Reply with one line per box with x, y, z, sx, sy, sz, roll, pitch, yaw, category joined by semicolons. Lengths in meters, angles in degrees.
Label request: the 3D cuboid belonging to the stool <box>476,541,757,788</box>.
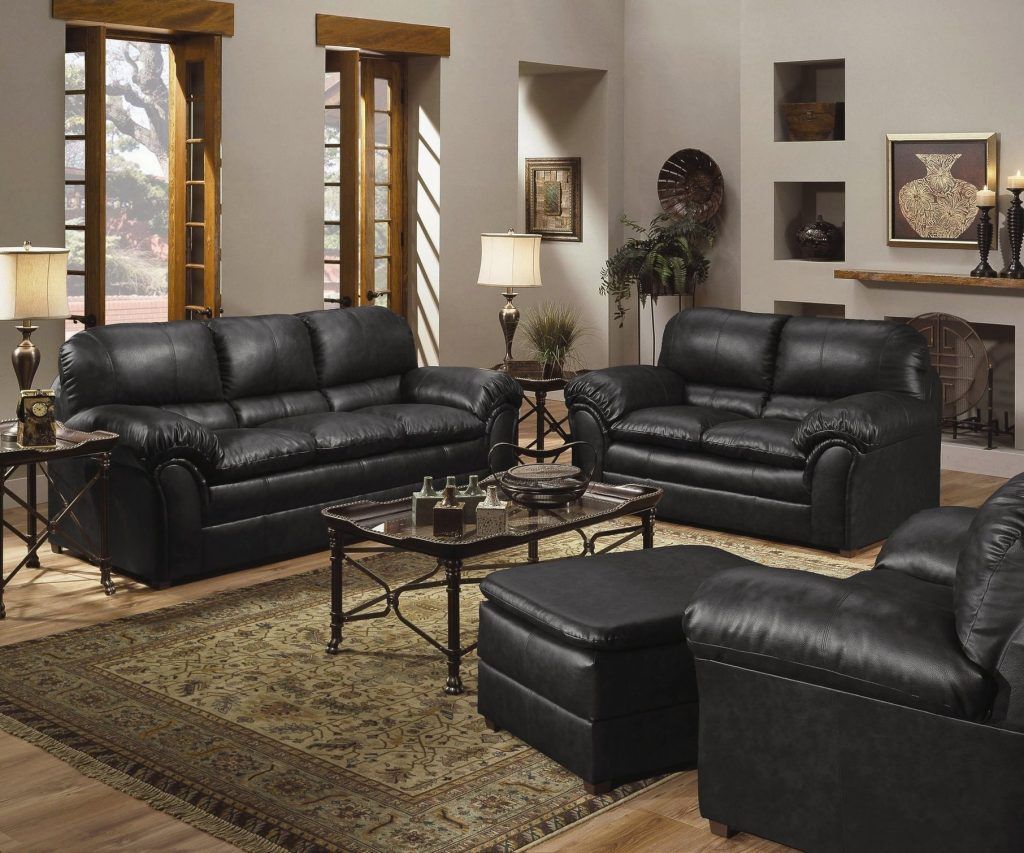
0.298;0.643;2.590;0.880;0.463;0.637;-4;5;-34;stool

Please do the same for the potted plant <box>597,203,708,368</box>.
1.334;-1.436;8.191;1.141;1.116;0.900;0;5;3;potted plant

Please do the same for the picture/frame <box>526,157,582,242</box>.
0.414;-2.300;8.935;0.167;0.848;0.664;-9;13;-44;picture/frame

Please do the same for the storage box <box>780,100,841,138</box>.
2.385;-2.430;7.033;0.482;0.330;0.248;2;9;15;storage box

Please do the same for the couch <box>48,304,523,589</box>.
-1.159;-0.007;5.031;1.111;1.193;2.548;11;15;39;couch

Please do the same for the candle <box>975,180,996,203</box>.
3.273;-1.608;6.111;0.121;0.164;0.204;4;10;26;candle

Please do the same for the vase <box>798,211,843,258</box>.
2.522;-1.563;7.249;0.380;0.420;0.555;3;9;18;vase

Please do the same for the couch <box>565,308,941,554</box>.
1.392;-0.067;5.219;1.072;1.058;1.920;-13;16;-40;couch
